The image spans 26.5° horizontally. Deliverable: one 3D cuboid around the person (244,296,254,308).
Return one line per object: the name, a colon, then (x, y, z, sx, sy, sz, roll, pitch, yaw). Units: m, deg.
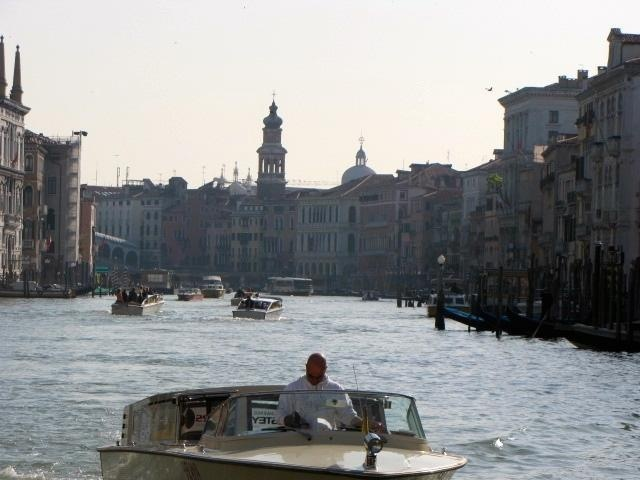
person: (-4.880, 4.206, 90.974, 0.544, 0.751, 0.264, 0, -6, -26)
